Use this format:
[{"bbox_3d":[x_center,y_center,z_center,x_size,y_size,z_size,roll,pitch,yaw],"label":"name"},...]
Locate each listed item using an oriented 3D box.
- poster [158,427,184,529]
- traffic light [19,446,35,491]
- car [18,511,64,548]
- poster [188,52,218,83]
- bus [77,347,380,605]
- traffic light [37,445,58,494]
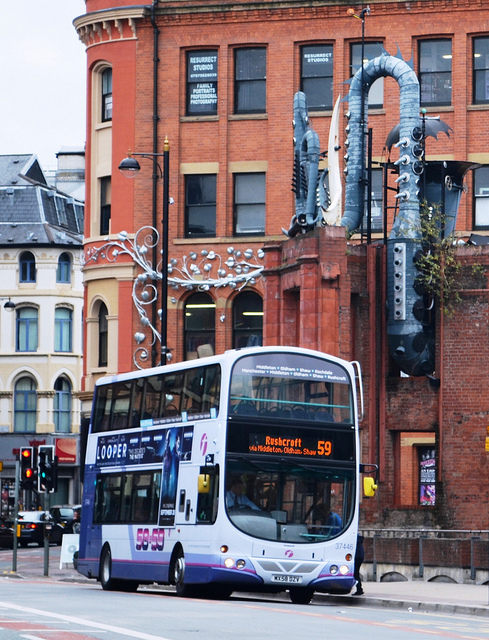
[{"bbox_3d":[-1.189,2.528,29.370,0.363,1.215,0.900,-5,2,-14],"label":"poster"},{"bbox_3d":[-4.737,3.171,39.225,0.334,0.756,0.596,-5,2,-7],"label":"traffic light"},{"bbox_3d":[-6.314,6.401,55.737,1.341,0.939,2.189,-6,2,-8],"label":"car"},{"bbox_3d":[-1.100,-6.637,48.050,0.682,0.834,0.072,-1,-4,6],"label":"poster"},{"bbox_3d":[-0.818,2.607,30.978,2.413,3.981,7.231,6,-8,-24],"label":"bus"},{"bbox_3d":[-4.311,3.208,39.241,0.455,0.832,1.025,-5,2,-8],"label":"traffic light"}]
